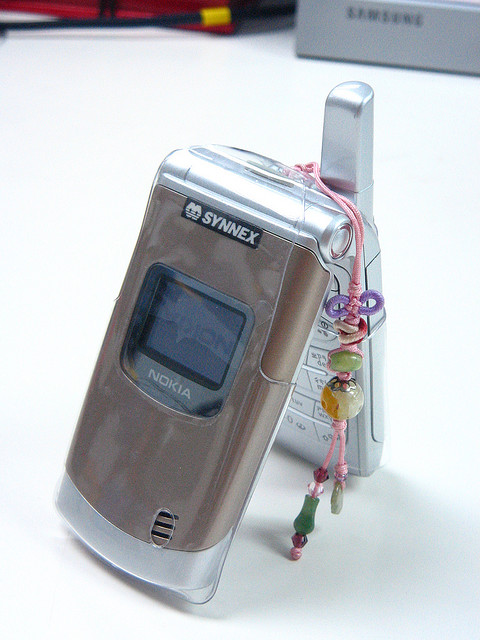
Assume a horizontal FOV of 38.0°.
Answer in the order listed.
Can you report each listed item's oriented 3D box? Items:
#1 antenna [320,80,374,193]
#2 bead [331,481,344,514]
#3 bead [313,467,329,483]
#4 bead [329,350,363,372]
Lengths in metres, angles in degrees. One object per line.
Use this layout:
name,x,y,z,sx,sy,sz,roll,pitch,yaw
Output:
antenna,0.083,-0.138,0.525,0.039,0.077,0.031,15,26,24
bead,0.079,0.149,0.566,0.009,0.032,0.016,7,24,7
bead,0.067,0.129,0.572,0.012,0.011,0.012,26,12,9
bead,0.079,0.031,0.512,0.019,0.011,0.015,2,0,13
